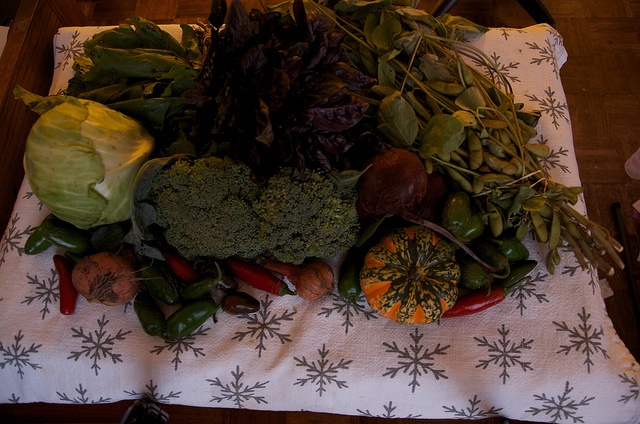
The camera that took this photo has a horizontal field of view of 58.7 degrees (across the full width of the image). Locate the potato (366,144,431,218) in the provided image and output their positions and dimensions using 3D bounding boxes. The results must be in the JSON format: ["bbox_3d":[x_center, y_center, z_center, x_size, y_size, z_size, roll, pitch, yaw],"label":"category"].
[{"bbox_3d":[0.231,-0.099,1.946,0.232,0.197,0.247,4,40,2],"label":"potato"}]

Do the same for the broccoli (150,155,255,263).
[{"bbox_3d":[-0.386,0.002,1.965,0.357,0.272,0.270,-2,62,-9],"label":"broccoli"}]

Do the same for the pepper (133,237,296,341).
[{"bbox_3d":[-0.338,0.301,2.029,0.524,0.193,0.308,6,79,0],"label":"pepper"}]

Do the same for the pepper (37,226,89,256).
[{"bbox_3d":[-0.908,0.101,2.032,0.163,0.063,0.079,22,65,-11],"label":"pepper"}]

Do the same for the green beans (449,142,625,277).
[{"bbox_3d":[0.717,0.017,2.162,0.404,0.717,0.534,-1,91,17],"label":"green beans"}]

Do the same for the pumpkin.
[{"bbox_3d":[0.324,0.221,2.013,0.341,0.165,0.310,24,61,5],"label":"pumpkin"}]

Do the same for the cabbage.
[{"bbox_3d":[-0.800,-0.167,1.975,0.371,0.285,0.368,18,61,3],"label":"cabbage"}]

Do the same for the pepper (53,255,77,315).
[{"bbox_3d":[-0.914,0.260,2.051,0.102,0.054,0.193,0,85,0],"label":"pepper"}]

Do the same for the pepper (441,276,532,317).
[{"bbox_3d":[0.593,0.303,2.020,0.169,0.065,0.121,-7,31,-9],"label":"pepper"}]
